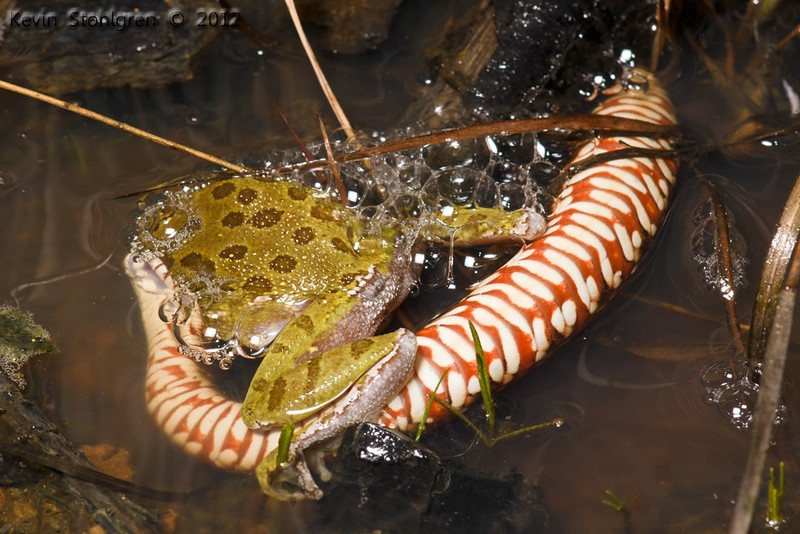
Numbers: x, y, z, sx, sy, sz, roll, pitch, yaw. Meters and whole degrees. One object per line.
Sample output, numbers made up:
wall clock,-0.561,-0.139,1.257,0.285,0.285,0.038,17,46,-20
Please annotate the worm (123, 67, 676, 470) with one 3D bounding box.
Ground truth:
worm,-0.127,0.180,6.439,2.550,3.341,2.569,2,90,-13

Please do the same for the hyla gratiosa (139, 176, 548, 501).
hyla gratiosa,-0.564,0.378,6.372,2.186,0.650,2.135,-25,81,-16
